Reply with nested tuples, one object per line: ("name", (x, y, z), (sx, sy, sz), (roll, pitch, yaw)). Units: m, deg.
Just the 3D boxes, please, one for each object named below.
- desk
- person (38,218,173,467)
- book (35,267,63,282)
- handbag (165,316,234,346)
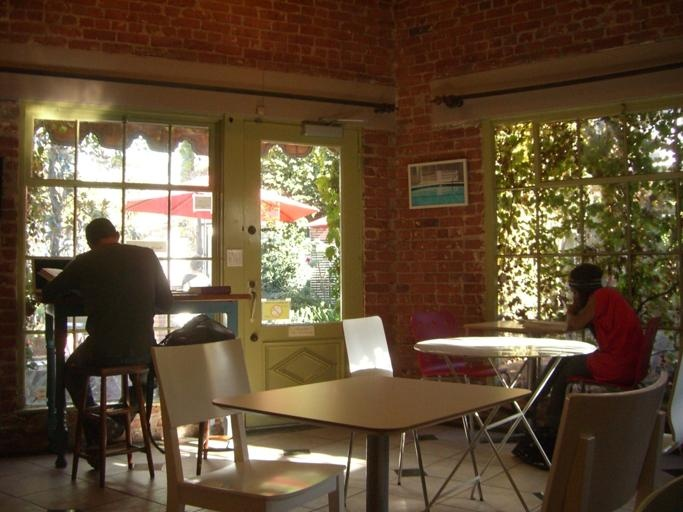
("desk", (-1.614, 0.732, 5.284), (1.047, 1.045, 0.795), (13, 1, 24))
("person", (-1.808, 0.689, 4.556), (0.909, 1.987, 0.417), (-1, 1, -3))
("book", (-2.349, 0.131, 4.728), (0.195, 0.087, 0.145), (13, 17, 38))
("handbag", (-1.180, 0.623, 4.789), (0.476, 0.182, 0.343), (3, -7, -32))
